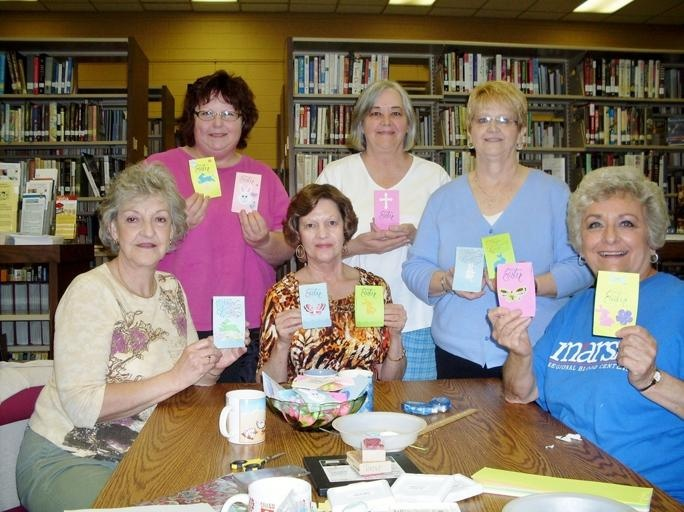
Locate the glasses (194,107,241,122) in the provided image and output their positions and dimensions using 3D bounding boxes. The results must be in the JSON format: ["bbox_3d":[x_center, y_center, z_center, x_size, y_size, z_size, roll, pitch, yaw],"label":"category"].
[{"bbox_3d":[-0.676,-0.748,2.860,0.243,0.077,0.068,-1,6,-7],"label":"glasses"}]

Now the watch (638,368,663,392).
[{"bbox_3d":[0.988,0.401,1.740,0.071,0.028,0.052,-40,24,20],"label":"watch"}]

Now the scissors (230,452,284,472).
[{"bbox_3d":[-0.245,0.581,1.515,0.065,0.013,0.158,-4,-1,27],"label":"scissors"}]

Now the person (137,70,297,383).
[{"bbox_3d":[-0.634,0.125,2.996,0.801,2.184,0.711,-4,7,-15],"label":"person"}]

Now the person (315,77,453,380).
[{"bbox_3d":[0.200,-0.302,3.004,0.789,1.843,0.625,-1,4,-5],"label":"person"}]

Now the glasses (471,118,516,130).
[{"bbox_3d":[0.716,-0.629,2.522,0.187,0.047,0.040,0,6,8],"label":"glasses"}]

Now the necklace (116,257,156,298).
[{"bbox_3d":[-0.860,0.099,2.218,0.143,0.168,0.166,7,-36,-34],"label":"necklace"}]

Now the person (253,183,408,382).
[{"bbox_3d":[-0.069,0.186,2.550,0.615,0.966,0.601,3,12,-6],"label":"person"}]
